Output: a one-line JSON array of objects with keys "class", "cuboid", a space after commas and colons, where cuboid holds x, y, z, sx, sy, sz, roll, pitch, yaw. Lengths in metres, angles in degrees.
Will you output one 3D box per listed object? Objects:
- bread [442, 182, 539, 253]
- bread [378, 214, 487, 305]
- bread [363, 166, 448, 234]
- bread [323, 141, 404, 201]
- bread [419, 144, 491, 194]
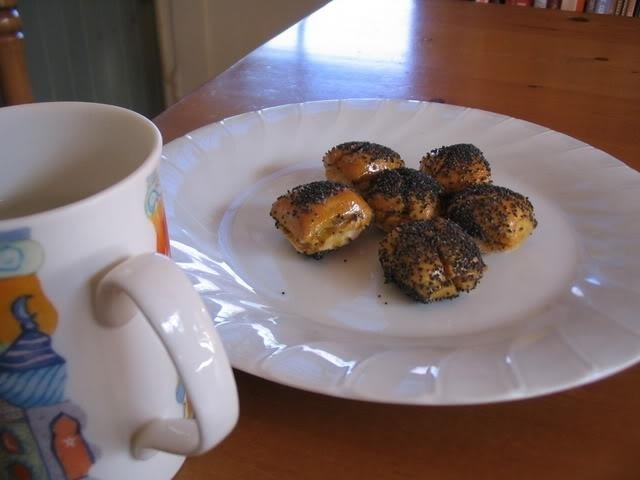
[{"class": "bread", "cuboid": [0.222, -0.048, 0.704, 0.101, 0.062, 0.080, 18, 42, 38]}, {"class": "bread", "cuboid": [0.133, 0.023, 0.641, 0.120, 0.030, 0.120, -3, 42, -4]}, {"class": "bread", "cuboid": [0.109, -0.060, 0.737, 0.081, 0.035, 0.093, 19, 45, 29]}, {"class": "bread", "cuboid": [0.058, -0.106, 0.793, 0.090, 0.057, 0.074, 4, 21, 2]}, {"class": "bread", "cuboid": [0.200, -0.119, 0.787, 0.081, 0.052, 0.076, 11, 33, 37]}]
